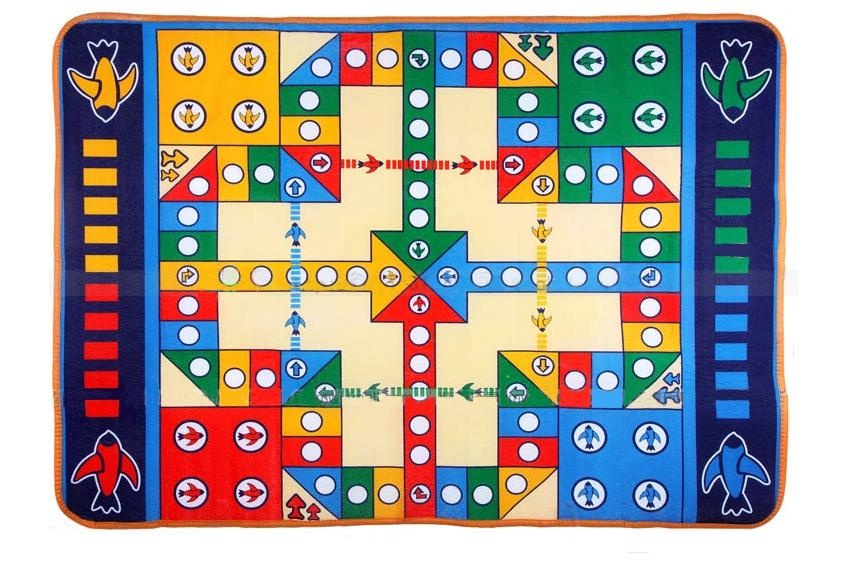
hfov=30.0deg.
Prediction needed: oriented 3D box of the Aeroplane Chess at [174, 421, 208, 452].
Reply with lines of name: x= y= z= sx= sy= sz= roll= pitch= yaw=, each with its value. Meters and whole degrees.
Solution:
Aeroplane Chess: x=-0.925 y=0.603 z=6.255 sx=0.120 sy=0.016 sz=0.112 roll=-6 pitch=-94 yaw=-7

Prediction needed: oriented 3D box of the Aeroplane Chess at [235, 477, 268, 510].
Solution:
Aeroplane Chess: x=-0.684 y=0.834 z=6.326 sx=0.131 sy=0.124 sz=0.124 roll=10 pitch=-95 yaw=-2

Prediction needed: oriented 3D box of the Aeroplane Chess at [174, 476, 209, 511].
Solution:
Aeroplane Chess: x=-0.924 y=0.825 z=6.260 sx=0.133 sy=0.017 sz=0.125 roll=-6 pitch=-96 yaw=-8

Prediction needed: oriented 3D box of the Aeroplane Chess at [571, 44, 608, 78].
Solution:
Aeroplane Chess: x=0.661 y=-0.877 z=6.236 sx=0.117 sy=0.035 sz=0.117 roll=42 pitch=-80 yaw=-13
